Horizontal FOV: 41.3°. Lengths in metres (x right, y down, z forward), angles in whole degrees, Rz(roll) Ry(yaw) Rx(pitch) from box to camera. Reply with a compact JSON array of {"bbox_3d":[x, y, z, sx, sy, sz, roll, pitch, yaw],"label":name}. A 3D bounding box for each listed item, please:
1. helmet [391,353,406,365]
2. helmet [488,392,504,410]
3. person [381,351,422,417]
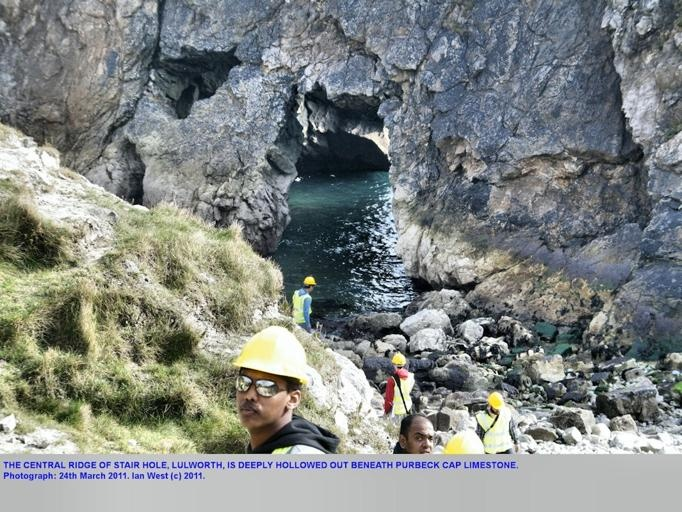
[{"bbox_3d":[1.245,2.283,20.158,0.305,0.231,0.389,1,8,-14],"label":"helmet"},{"bbox_3d":[3.178,2.979,18.702,0.263,0.359,0.179,-9,-21,1],"label":"helmet"},{"bbox_3d":[1.299,2.953,20.150,0.625,1.555,0.501,12,13,12],"label":"person"}]
